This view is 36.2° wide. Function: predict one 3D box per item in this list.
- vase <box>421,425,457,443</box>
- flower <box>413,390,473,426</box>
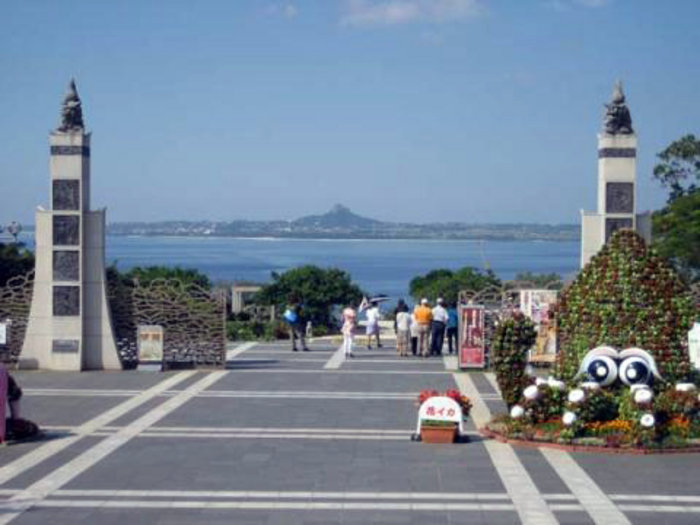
[{"bbox_3d":[1.806,3.533,21.910,0.479,0.201,0.408,0,-1,-5],"label":"vase"},{"bbox_3d":[2.024,2.922,22.654,1.040,0.621,1.387,1,11,12],"label":"flower"}]
